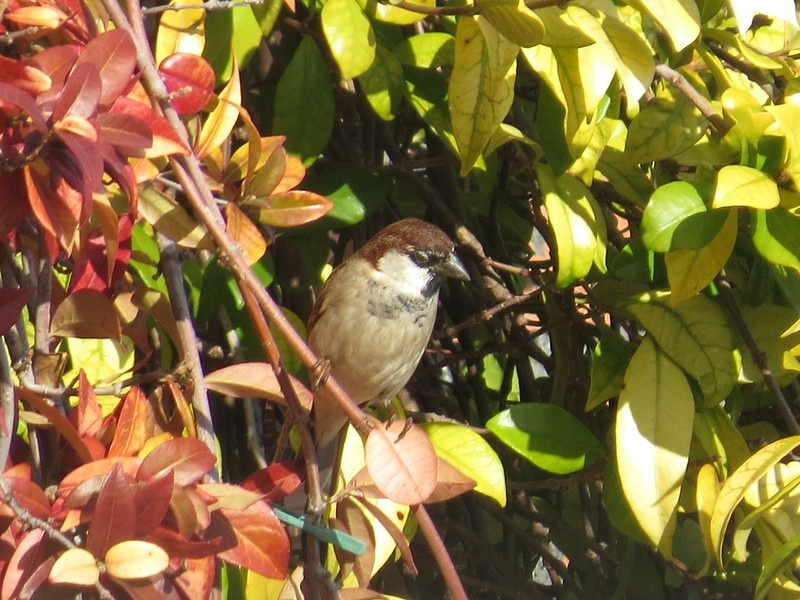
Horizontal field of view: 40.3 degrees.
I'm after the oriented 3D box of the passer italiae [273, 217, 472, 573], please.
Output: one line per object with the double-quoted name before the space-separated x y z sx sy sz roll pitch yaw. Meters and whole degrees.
"passer italiae" -0.076 0.014 2.007 0.227 0.447 0.420 -6 20 -41
